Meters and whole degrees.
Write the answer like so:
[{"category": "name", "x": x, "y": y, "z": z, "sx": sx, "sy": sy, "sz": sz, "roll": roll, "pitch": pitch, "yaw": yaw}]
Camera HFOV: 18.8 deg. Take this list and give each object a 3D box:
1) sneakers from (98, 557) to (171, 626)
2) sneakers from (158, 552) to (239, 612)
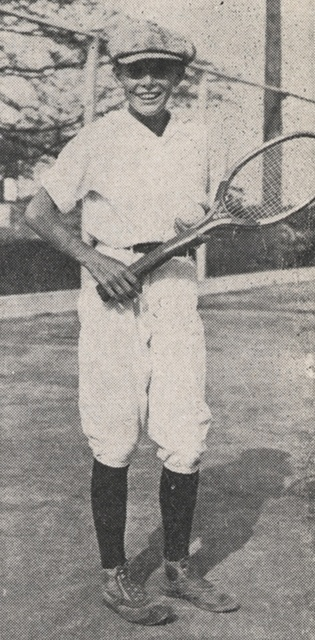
[{"category": "sneakers", "x": -0.070, "y": 0.878, "z": 3.046, "sx": 0.269, "sy": 0.106, "sz": 0.168, "roll": 7, "pitch": 90, "yaw": 36}, {"category": "sneakers", "x": 0.119, "y": 0.847, "z": 3.097, "sx": 0.311, "sy": 0.105, "sz": 0.133, "roll": 5, "pitch": 99, "yaw": 33}]
